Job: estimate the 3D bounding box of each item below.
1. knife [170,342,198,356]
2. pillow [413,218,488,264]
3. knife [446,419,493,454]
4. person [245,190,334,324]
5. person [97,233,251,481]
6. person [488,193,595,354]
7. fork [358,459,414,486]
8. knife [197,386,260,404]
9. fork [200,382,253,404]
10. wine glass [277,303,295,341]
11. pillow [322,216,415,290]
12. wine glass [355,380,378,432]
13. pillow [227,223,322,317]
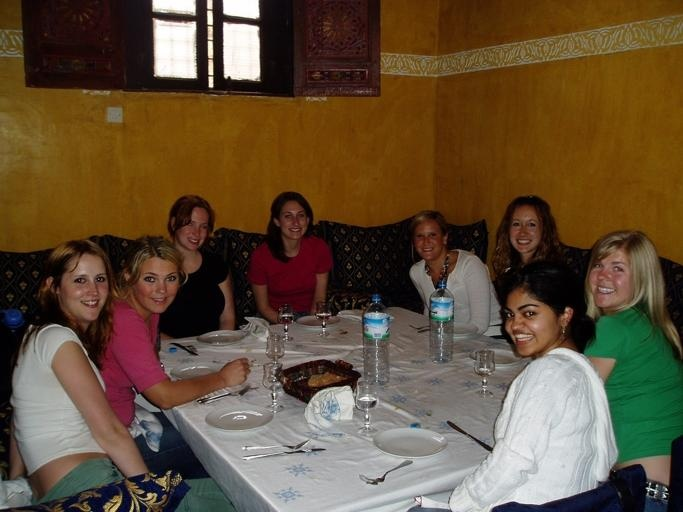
[{"bbox_3d":[-0.790,0.456,2.749,0.173,0.032,0.060,10,28,40],"label":"knife"},{"bbox_3d":[1.037,-0.169,5.188,0.514,0.669,0.532,-1,2,-11],"label":"pillow"},{"bbox_3d":[0.460,0.639,2.006,0.043,0.034,0.286,-40,30,-25],"label":"knife"},{"bbox_3d":[-0.350,0.078,3.947,0.666,1.027,0.577,-2,17,-16],"label":"person"},{"bbox_3d":[-0.768,0.620,2.555,0.721,1.339,0.512,4,16,-4],"label":"person"},{"bbox_3d":[1.092,0.111,3.457,0.712,0.845,0.656,-17,15,-15],"label":"person"},{"bbox_3d":[0.144,0.672,1.759,0.201,0.034,0.055,-3,2,-40],"label":"fork"},{"bbox_3d":[-0.471,0.568,2.242,0.249,0.022,0.042,-4,25,-31],"label":"knife"},{"bbox_3d":[-0.481,0.563,2.247,0.296,0.032,0.042,-5,27,-31],"label":"fork"},{"bbox_3d":[-0.302,0.355,2.960,0.093,0.199,0.089,-4,15,-18],"label":"wine glass"},{"bbox_3d":[0.228,0.033,5.049,0.889,0.656,0.319,-4,-4,-15],"label":"pillow"},{"bbox_3d":[0.099,0.564,2.061,0.085,0.186,0.085,2,3,18],"label":"wine glass"},{"bbox_3d":[-0.485,0.127,4.016,0.689,0.751,0.257,4,-13,-35],"label":"pillow"}]
